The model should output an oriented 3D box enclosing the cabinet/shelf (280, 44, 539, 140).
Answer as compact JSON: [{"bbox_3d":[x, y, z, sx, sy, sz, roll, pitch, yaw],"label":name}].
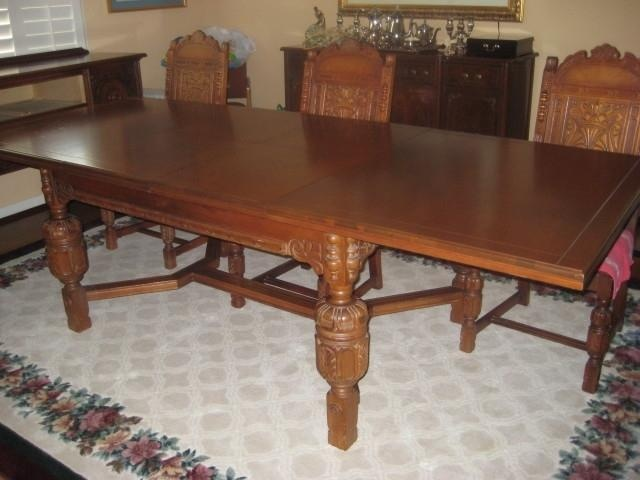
[{"bbox_3d":[0.819,-1.227,4.554,1.475,1.320,0.489,12,59,18],"label":"cabinet/shelf"}]
